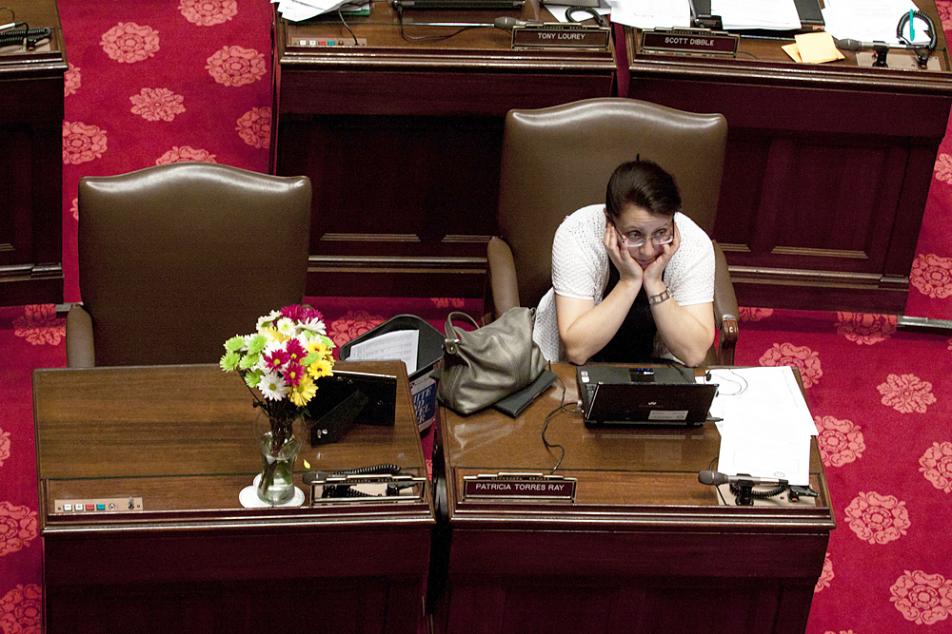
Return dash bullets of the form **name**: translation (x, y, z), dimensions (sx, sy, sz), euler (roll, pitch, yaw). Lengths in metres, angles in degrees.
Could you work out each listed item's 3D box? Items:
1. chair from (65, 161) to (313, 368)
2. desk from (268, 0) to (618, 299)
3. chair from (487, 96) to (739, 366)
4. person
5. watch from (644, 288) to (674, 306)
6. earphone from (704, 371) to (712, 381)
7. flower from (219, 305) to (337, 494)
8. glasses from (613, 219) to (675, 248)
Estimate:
- **chair**: translation (-0.919, -0.241, 2.951), dimensions (0.654, 0.966, 0.774), euler (-1, 44, -13)
- **desk**: translation (-0.291, -0.570, 4.174), dimensions (1.845, 1.896, 1.183), euler (1, 35, -2)
- **chair**: translation (0.438, -0.492, 3.293), dimensions (0.836, 1.164, 0.991), euler (-2, 48, 0)
- **person**: translation (0.501, -0.176, 2.720), dimensions (0.480, 0.830, 0.522), euler (-3, 34, -3)
- **watch**: translation (0.621, -0.048, 2.712), dimensions (0.075, 0.049, 0.078), euler (-13, 14, 32)
- **earphone**: translation (0.723, 0.186, 2.487), dimensions (0.018, 0.028, 0.007), euler (-3, -13, 9)
- **flower**: translation (-0.495, 0.233, 1.986), dimensions (0.258, 0.503, 0.208), euler (-2, 10, -24)
- **glasses**: translation (0.560, -0.267, 2.598), dimensions (0.201, 0.080, 0.120), euler (2, 10, -2)
